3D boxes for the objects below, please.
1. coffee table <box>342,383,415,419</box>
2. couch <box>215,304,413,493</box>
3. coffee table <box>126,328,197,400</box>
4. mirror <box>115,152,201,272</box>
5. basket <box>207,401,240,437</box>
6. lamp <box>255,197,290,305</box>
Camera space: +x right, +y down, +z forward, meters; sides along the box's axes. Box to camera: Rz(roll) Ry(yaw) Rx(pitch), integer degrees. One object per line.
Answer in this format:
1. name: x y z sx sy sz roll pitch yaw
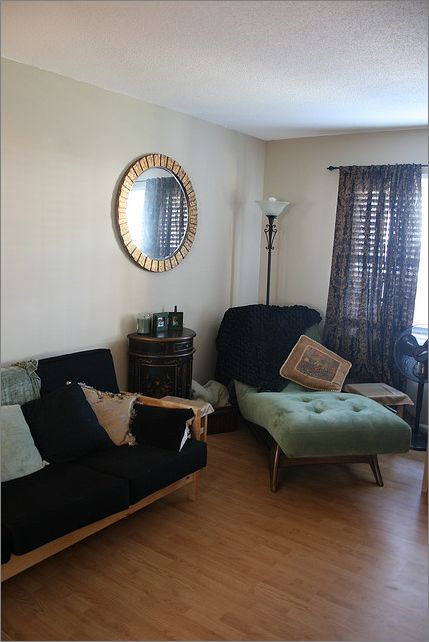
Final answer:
1. coffee table: 1.254 0.553 3.592 0.286 0.185 0.367 -3 11 -17
2. couch: 0.623 0.480 3.491 0.949 1.022 1.654 0 7 -12
3. coffee table: -0.392 0.325 3.418 0.342 0.545 0.430 12 17 9
4. mirror: -0.410 -0.754 3.488 0.776 0.815 0.027 8 16 30
5. basket: 0.064 0.776 3.758 0.183 0.251 0.333 3 3 39
6. lamp: 0.511 -0.638 4.290 0.243 0.987 0.741 3 5 9
